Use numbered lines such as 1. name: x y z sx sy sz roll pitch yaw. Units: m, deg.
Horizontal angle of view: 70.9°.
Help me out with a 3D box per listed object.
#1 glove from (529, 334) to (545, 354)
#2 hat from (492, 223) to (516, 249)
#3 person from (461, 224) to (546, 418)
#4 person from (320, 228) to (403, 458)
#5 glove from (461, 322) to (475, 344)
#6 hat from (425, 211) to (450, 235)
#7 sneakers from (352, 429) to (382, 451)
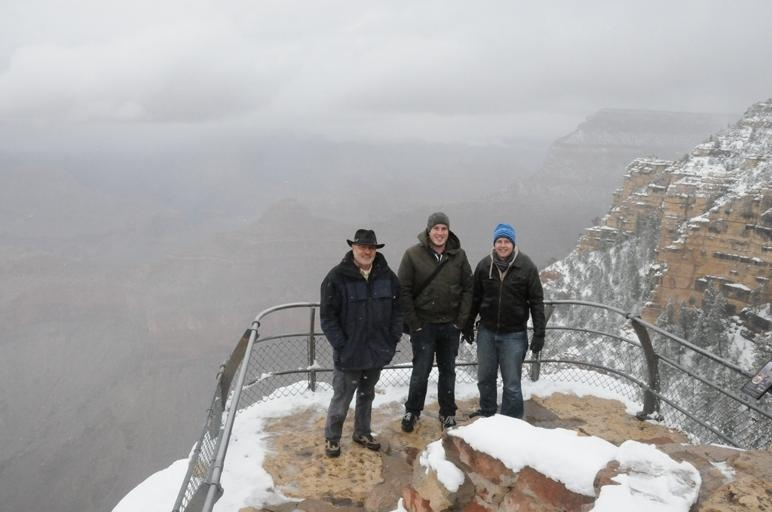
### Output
1. glove: 2.526 1.467 9.048 0.238 0.341 0.316 8 34 17
2. hat: 1.942 -0.365 8.903 0.360 0.379 0.327 4 18 11
3. person: 1.949 1.252 8.995 1.284 3.513 0.995 5 18 16
4. person: -0.397 1.366 8.616 1.297 3.570 0.850 -4 17 -11
5. glove: 1.405 1.329 9.273 0.232 0.333 0.113 2 -4 -4
6. hat: 0.836 -0.563 8.845 0.278 0.291 0.351 2 -3 -18
7. sneakers: -0.323 3.012 8.880 0.545 0.242 0.207 11 11 34
